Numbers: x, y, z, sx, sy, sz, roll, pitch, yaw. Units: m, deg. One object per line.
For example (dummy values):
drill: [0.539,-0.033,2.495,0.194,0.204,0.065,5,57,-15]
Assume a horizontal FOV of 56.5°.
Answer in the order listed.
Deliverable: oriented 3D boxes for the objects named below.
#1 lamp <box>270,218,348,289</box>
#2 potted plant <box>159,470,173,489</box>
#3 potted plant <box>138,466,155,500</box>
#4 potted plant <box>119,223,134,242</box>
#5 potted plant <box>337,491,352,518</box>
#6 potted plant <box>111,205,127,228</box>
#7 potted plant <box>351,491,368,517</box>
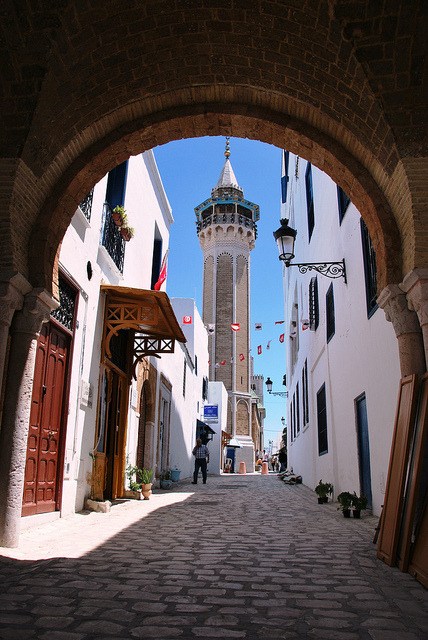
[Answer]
lamp: [1.687,-1.234,7.116,1.112,1.604,0.480,-5,-30,8]
potted plant: [-1.645,5.507,13.774,0.341,0.655,0.414,4,-27,-8]
potted plant: [-1.827,4.268,10.518,0.369,0.690,1.944,3,-14,-9]
potted plant: [-1.971,-2.031,8.947,0.226,0.144,0.334,0,-18,3]
potted plant: [2.129,2.948,6.363,0.203,0.388,0.453,-3,-14,18]
potted plant: [-2.050,-2.259,8.714,0.320,0.600,0.469,2,-5,-7]
potted plant: [2.286,2.901,6.231,0.210,0.384,0.450,-3,-14,19]
